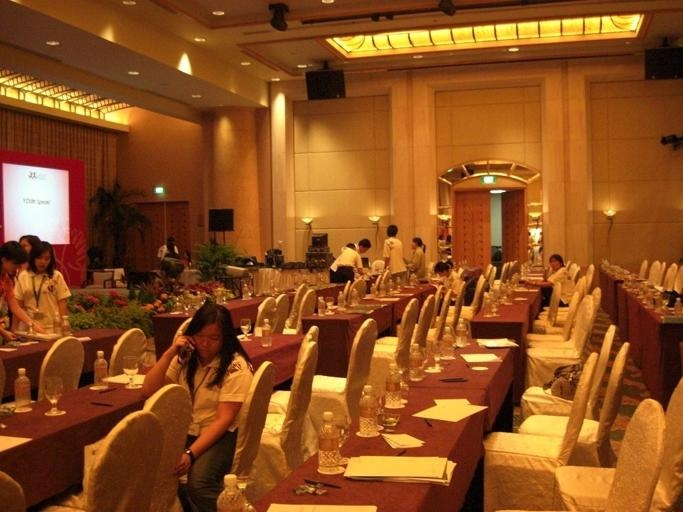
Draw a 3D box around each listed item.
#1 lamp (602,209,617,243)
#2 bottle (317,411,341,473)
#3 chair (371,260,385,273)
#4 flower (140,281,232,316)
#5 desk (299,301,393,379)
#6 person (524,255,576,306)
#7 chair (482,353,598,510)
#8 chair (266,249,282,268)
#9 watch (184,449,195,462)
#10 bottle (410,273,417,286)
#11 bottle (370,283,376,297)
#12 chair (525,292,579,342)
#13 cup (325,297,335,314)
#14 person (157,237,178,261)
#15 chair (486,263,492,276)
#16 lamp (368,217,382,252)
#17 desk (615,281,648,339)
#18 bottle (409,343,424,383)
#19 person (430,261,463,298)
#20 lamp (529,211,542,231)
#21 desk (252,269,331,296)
[{"bbox_3d":[7.282,-0.899,15.329,0.344,0.850,0.145,0,5,0],"label":"lamp"},{"bbox_3d":[-0.050,0.805,2.542,0.112,0.300,0.249,0,5,-2],"label":"bottle"},{"bbox_3d":[0.858,0.224,13.187,0.264,0.266,0.487,2,-13,5],"label":"chair"},{"bbox_3d":[-2.779,0.662,9.814,0.870,0.249,0.950,-2,7,18],"label":"flower"},{"bbox_3d":[0.170,1.008,7.302,0.622,0.728,1.853,1,4,20],"label":"desk"},{"bbox_3d":[3.834,0.636,10.359,0.762,1.373,0.563,3,3,9],"label":"person"},{"bbox_3d":[1.226,1.097,3.872,0.811,1.304,0.749,2,0,19],"label":"chair"},{"bbox_3d":[-1.382,0.031,12.261,0.312,0.522,0.525,2,-2,-31],"label":"chair"},{"bbox_3d":[-0.822,1.082,3.072,0.042,0.069,0.068,3,-1,-25],"label":"watch"},{"bbox_3d":[1.365,0.444,10.729,0.174,0.228,0.188,2,0,0],"label":"bottle"},{"bbox_3d":[0.507,0.527,8.869,0.108,0.212,0.112,0,2,0],"label":"bottle"},{"bbox_3d":[2.751,0.801,7.425,0.529,0.880,0.518,4,4,6],"label":"chair"},{"bbox_3d":[-0.151,0.623,7.009,0.126,0.161,0.141,2,6,25],"label":"cup"},{"bbox_3d":[-5.459,-0.255,17.772,0.381,1.222,0.694,5,6,19],"label":"person"},{"bbox_3d":[3.464,0.307,13.324,0.185,0.212,0.193,7,9,34],"label":"chair"},{"bbox_3d":[0.991,-0.705,16.714,0.386,1.044,0.094,2,5,19],"label":"lamp"},{"bbox_3d":[4.206,0.765,8.181,0.448,0.633,0.871,1,6,18],"label":"desk"},{"bbox_3d":[0.518,0.708,3.876,0.093,0.214,0.283,1,5,9],"label":"bottle"},{"bbox_3d":[1.792,0.391,9.737,0.268,0.783,0.418,-14,-9,4],"label":"person"},{"bbox_3d":[5.433,-1.021,15.843,0.355,0.609,0.399,0,-1,16],"label":"lamp"},{"bbox_3d":[-1.251,0.451,11.328,0.726,0.385,1.135,1,4,44],"label":"desk"}]
